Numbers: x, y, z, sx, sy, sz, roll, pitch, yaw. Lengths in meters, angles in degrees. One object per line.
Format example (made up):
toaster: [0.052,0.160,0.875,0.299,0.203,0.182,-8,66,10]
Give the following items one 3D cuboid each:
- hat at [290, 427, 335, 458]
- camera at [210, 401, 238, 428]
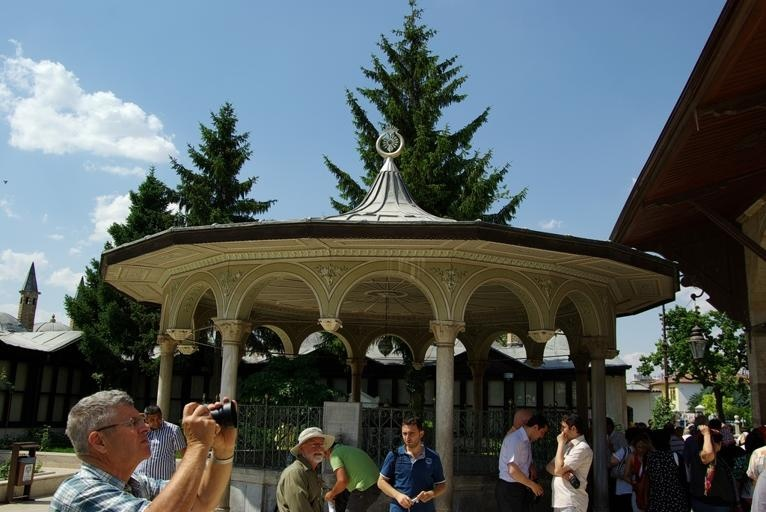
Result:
hat: [-1.018,2.468,8.802,0.561,0.242,0.550,-32,-31,31]
camera: [-1.408,1.463,6.136,0.262,0.181,0.168,-7,5,13]
